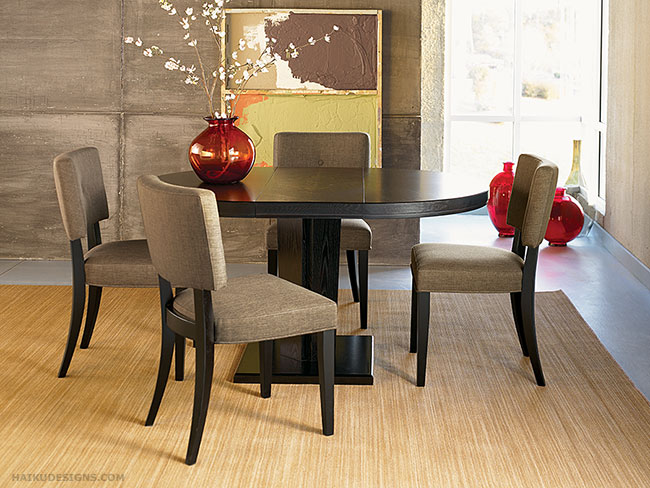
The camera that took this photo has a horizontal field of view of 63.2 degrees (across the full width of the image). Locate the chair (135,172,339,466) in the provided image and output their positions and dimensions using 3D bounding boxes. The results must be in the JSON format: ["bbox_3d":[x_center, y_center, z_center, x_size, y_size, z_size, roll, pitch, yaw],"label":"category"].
[{"bbox_3d":[-0.361,0.249,2.062,0.632,0.889,0.568,-1,7,-36],"label":"chair"}]

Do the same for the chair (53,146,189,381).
[{"bbox_3d":[-1.002,0.062,2.697,0.763,0.910,0.721,-9,18,-44],"label":"chair"}]

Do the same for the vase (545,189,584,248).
[{"bbox_3d":[2.163,-0.271,4.843,0.367,0.383,0.337,16,-17,-14],"label":"vase"}]

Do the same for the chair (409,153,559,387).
[{"bbox_3d":[0.746,0.095,2.577,0.686,0.953,0.593,0,13,14],"label":"chair"}]

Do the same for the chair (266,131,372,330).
[{"bbox_3d":[-0.060,-0.118,3.295,0.874,1.135,0.858,-3,14,-21],"label":"chair"}]

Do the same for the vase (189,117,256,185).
[{"bbox_3d":[-0.498,-0.457,2.572,0.332,0.293,0.324,8,15,25],"label":"vase"}]

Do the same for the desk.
[{"bbox_3d":[0.006,-0.068,2.427,1.161,0.721,1.234,1,10,1],"label":"desk"}]
